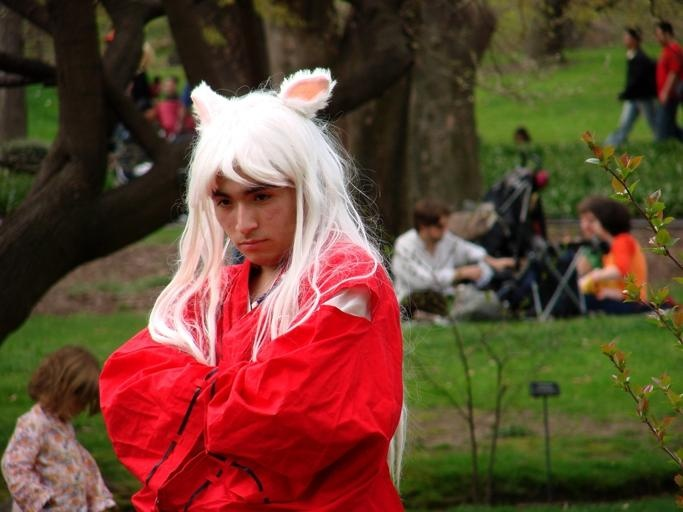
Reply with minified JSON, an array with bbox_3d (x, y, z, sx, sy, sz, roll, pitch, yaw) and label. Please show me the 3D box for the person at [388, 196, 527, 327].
[{"bbox_3d":[0.760,0.043,8.508,0.888,0.842,0.637,2,18,4],"label":"person"}]
